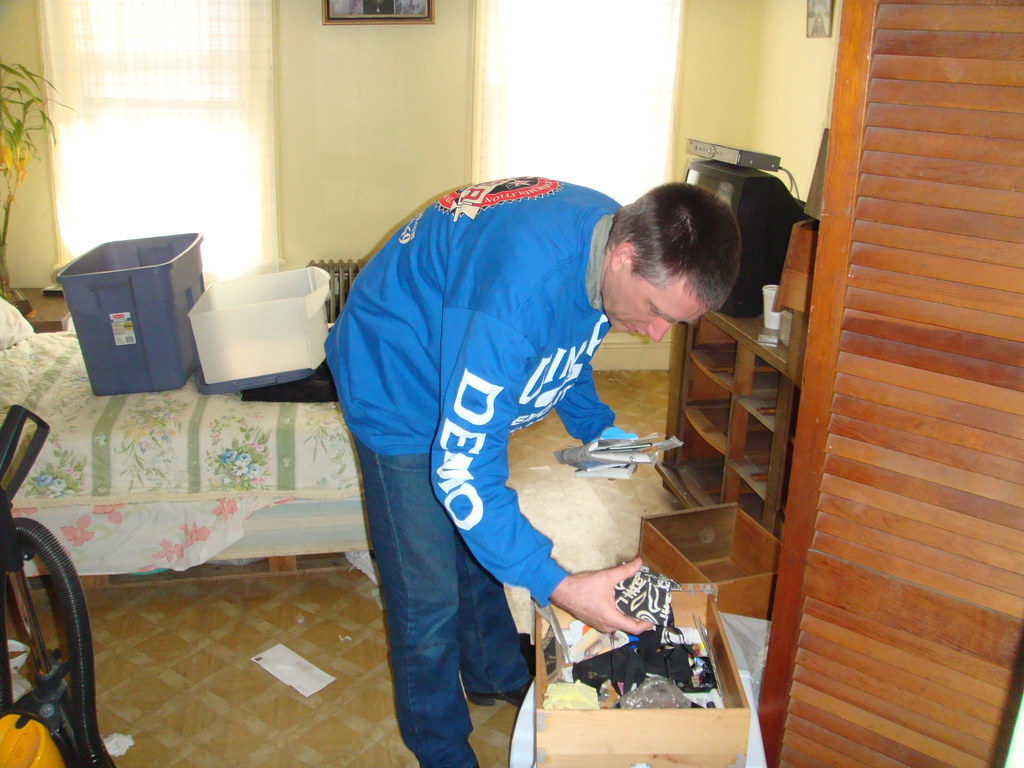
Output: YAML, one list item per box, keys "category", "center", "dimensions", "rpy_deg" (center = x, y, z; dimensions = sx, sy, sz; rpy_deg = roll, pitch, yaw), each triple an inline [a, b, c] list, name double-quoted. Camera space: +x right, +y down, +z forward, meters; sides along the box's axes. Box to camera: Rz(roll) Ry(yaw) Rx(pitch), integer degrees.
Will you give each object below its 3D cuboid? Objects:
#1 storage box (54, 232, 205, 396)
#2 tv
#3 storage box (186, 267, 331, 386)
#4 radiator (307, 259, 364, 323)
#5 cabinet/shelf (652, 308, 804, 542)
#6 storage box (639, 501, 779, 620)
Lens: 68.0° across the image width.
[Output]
- category: "storage box"
  center: [-1.490, -0.307, 3.083]
  dimensions: [0.451, 0.449, 0.654]
  rpy_deg: [-6, 23, -9]
- category: "tv"
  center: [1.016, -0.656, 3.254]
  dimensions: [0.468, 0.586, 0.605]
  rpy_deg: [5, 21, -10]
- category: "storage box"
  center: [-0.930, -0.165, 2.996]
  dimensions: [0.613, 0.365, 0.568]
  rpy_deg: [-7, 30, -7]
- category: "radiator"
  center: [-1.011, -0.578, 4.397]
  dimensions: [0.410, 0.400, 0.125]
  rpy_deg: [1, -4, -4]
- category: "cabinet/shelf"
  center: [0.792, 0.143, 2.778]
  dimensions: [0.276, 0.606, 0.667]
  rpy_deg: [-2, 27, -5]
- category: "storage box"
  center: [0.630, 0.560, 2.494]
  dimensions: [0.335, 0.179, 0.432]
  rpy_deg: [-3, 26, -10]
